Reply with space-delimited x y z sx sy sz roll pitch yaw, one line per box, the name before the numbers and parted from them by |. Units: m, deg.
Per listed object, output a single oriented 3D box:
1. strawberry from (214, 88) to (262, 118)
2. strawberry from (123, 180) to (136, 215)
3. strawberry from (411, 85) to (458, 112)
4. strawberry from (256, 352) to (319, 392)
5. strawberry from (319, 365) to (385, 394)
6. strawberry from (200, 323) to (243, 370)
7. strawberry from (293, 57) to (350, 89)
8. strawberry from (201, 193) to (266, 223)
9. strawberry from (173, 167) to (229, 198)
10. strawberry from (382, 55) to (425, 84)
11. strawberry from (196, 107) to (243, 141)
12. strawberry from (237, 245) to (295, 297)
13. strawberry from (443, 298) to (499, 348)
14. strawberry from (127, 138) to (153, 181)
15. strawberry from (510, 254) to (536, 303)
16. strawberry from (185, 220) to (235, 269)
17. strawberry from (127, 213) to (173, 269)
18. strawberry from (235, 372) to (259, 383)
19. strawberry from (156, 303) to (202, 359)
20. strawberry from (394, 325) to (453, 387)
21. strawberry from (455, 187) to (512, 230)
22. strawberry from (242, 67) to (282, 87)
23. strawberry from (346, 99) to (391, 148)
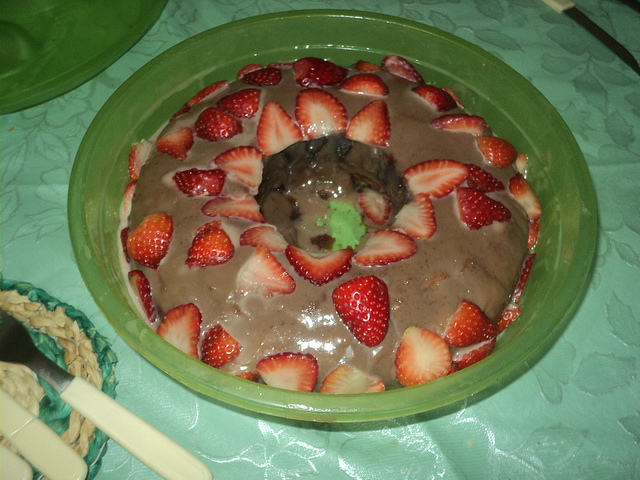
strawberry | -0.250 -0.432 1.917 0.103 0.038 0.112 -37 47 -22
strawberry | -0.613 -0.141 1.955 0.019 0.060 0.082 15 68 -34
strawberry | 0.371 -0.457 1.972 0.112 0.030 0.106 4 44 -39
strawberry | -0.089 0.358 1.693 0.174 0.064 0.092 11 50 -4
strawberry | 0.095 0.403 1.697 0.178 0.054 0.086 15 50 -1
strawberry | -0.281 0.296 1.706 0.123 0.076 0.100 -5 73 7
strawberry | 0.004 -0.528 1.995 0.141 0.050 0.108 4 39 -15
strawberry | -0.257 -0.098 1.817 0.188 0.030 0.093 6 51 -8
strawberry | -0.355 -0.175 1.832 0.122 0.044 0.090 -9 62 -1
strawberry | 0.277 -0.576 2.068 0.133 0.031 0.081 39 47 4
strawberry | -0.323 -0.375 1.952 0.124 0.157 0.097 8 93 -4
strawberry | -0.155 0.110 1.734 0.154 0.069 0.123 40 54 19
strawberry | 0.436 0.253 1.740 0.132 0.074 0.130 28 51 10
strawberry | -0.594 -0.264 2.012 0.090 0.032 0.117 22 89 34
strawberry | 0.617 0.121 1.861 0.027 0.036 0.143 20 79 10
strawberry | -0.316 0.014 1.795 0.160 0.059 0.155 -14 40 -25
strawberry | -0.496 -0.006 1.820 0.135 0.108 0.134 33 52 15
strawberry | -0.194 0.378 1.695 0.039 0.028 0.022 6 75 -9
strawberry | -0.378 0.247 1.736 0.153 0.080 0.106 33 52 14
strawberry | 0.282 0.329 1.727 0.155 0.106 0.157 -21 59 -26
strawberry | 0.483 -0.092 1.823 0.163 0.044 0.122 -7 85 -19
strawberry | -0.188 -0.533 1.986 0.109 0.025 0.065 -5 49 26
strawberry | 0.157 -0.358 1.953 0.173 0.182 0.054 5 66 3
